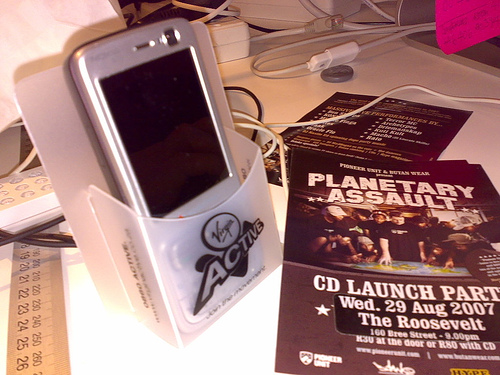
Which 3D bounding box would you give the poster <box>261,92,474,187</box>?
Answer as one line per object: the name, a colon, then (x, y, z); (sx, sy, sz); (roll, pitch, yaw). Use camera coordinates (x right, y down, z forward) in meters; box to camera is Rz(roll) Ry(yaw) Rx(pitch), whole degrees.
poster: (0.169, -0.060, 0.606); (0.232, 0.227, 0.011); (24, -18, 26)
